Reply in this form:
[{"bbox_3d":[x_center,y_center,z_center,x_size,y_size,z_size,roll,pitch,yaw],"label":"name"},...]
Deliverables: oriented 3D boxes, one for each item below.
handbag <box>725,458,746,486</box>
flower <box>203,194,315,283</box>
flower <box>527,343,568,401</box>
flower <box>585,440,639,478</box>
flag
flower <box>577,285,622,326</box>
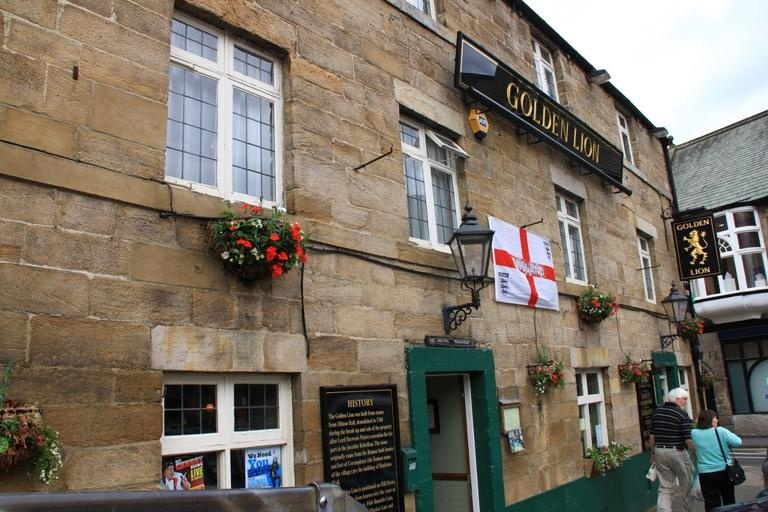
[{"bbox_3d":[4.943,3.037,8.270,0.152,0.336,0.518,-17,-21,35],"label":"handbag"},{"bbox_3d":[-1.209,-0.141,5.729,0.797,0.523,0.811,-1,17,-18],"label":"flower"},{"bbox_3d":[2.394,1.755,8.739,0.538,0.750,0.614,16,-32,-1],"label":"flower"},{"bbox_3d":[3.614,3.343,9.586,0.370,0.501,1.056,-15,-20,31],"label":"flower"},{"bbox_3d":[2.030,0.145,8.773,0.124,0.982,1.516,-22,-25,37],"label":"flag"},{"bbox_3d":[3.671,0.832,10.166,0.725,0.664,0.638,-3,21,25],"label":"flower"}]
